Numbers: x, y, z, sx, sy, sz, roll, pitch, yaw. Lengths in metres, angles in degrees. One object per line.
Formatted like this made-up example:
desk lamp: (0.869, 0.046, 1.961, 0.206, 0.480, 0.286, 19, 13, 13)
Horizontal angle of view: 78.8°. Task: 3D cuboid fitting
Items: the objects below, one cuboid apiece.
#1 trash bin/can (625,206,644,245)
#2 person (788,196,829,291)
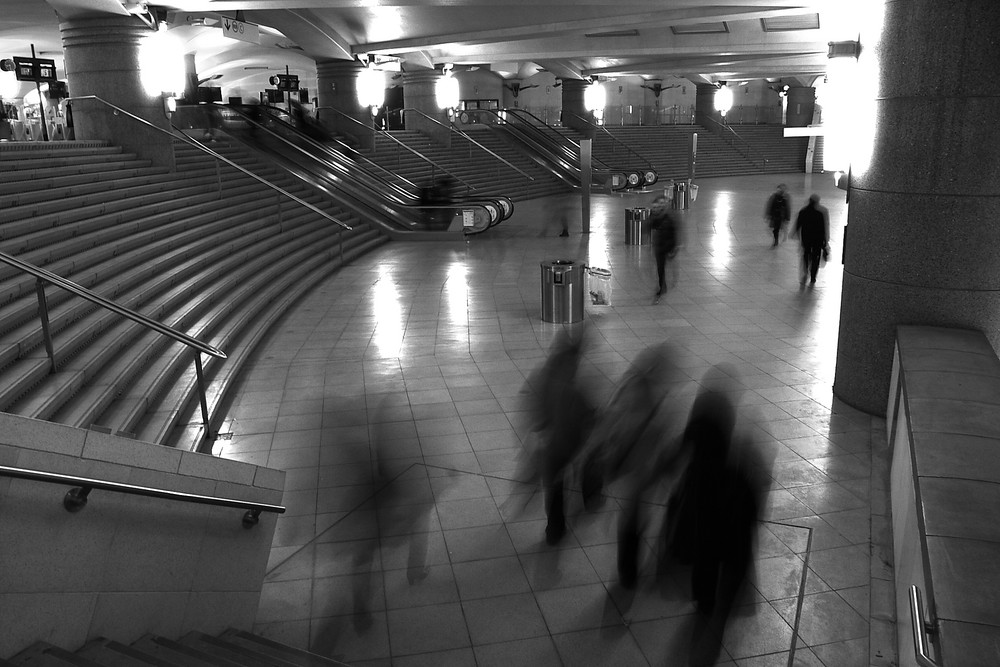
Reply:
trash bin/can: (3.716, -3.007, 16.893, 0.466, 0.944, 0.577, 3, 18, 11)
person: (6.290, -1.935, 12.352, 0.685, 1.810, 1.505, 9, 19, 26)
